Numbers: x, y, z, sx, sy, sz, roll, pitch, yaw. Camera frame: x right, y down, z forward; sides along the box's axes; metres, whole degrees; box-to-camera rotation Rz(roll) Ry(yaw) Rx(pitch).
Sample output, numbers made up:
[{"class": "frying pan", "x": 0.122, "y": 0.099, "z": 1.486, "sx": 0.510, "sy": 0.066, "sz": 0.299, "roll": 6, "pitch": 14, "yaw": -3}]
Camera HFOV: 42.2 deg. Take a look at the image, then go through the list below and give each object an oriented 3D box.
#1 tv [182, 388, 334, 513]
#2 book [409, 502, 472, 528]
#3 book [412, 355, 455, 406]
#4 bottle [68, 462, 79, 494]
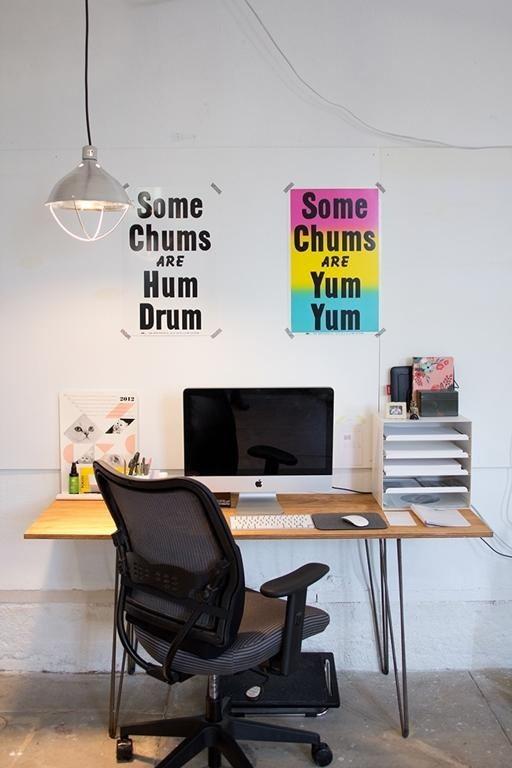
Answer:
[{"class": "tv", "x": 0.007, "y": 0.221, "z": 2.433, "sx": 0.409, "sy": 0.375, "sz": 0.114, "roll": 0, "pitch": 6, "yaw": -3}, {"class": "book", "x": 0.657, "y": 0.468, "z": 2.351, "sx": 0.170, "sy": 0.016, "sz": 0.225, "roll": 0, "pitch": 6, "yaw": 1}, {"class": "book", "x": 0.700, "y": -0.014, "z": 2.731, "sx": 0.176, "sy": 0.178, "sz": 0.185, "roll": 2, "pitch": -6, "yaw": -2}, {"class": "bottle", "x": -0.730, "y": 0.375, "z": 2.666, "sx": 0.044, "sy": 0.117, "sz": 0.070, "roll": -2, "pitch": 7, "yaw": -17}]
